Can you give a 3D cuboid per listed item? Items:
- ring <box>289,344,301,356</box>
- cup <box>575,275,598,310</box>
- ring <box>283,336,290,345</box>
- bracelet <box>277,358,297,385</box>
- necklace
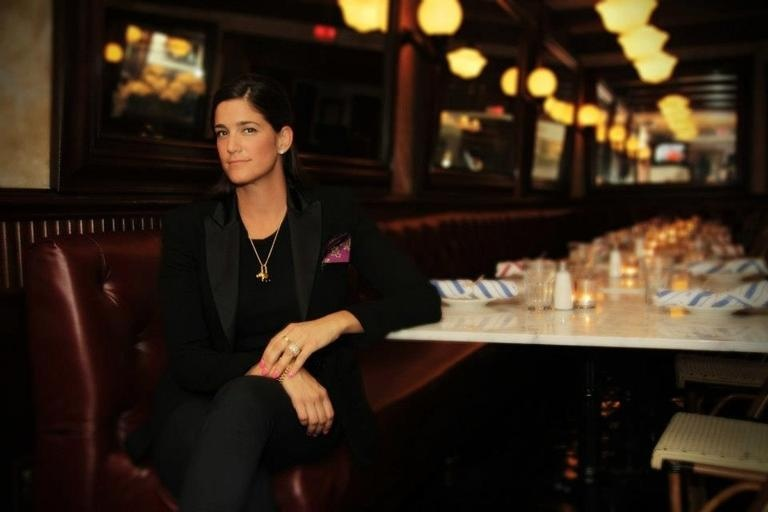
[{"bbox_3d":[-0.328,0.340,2.128,0.038,0.036,0.013,36,30,5],"label":"ring"},{"bbox_3d":[0.868,0.158,2.549,0.109,0.129,0.115,0,-1,0],"label":"cup"},{"bbox_3d":[-0.358,0.309,2.142,0.020,0.019,0.006,15,-40,-41],"label":"ring"},{"bbox_3d":[-0.350,0.416,2.111,0.061,0.101,0.025,11,-21,5],"label":"bracelet"},{"bbox_3d":[-0.497,-0.037,2.336,0.283,0.354,0.031,-4,-16,-2],"label":"necklace"}]
